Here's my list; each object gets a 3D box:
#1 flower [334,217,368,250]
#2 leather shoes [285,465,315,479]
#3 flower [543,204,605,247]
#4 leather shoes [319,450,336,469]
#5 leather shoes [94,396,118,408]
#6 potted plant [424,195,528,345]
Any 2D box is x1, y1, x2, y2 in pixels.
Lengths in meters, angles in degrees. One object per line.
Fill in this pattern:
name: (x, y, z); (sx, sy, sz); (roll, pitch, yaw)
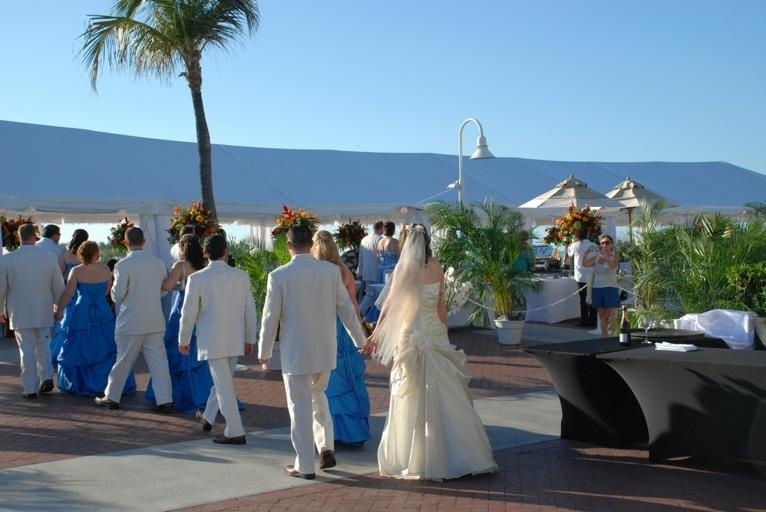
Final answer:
flower: (-0.679, -0.514, 16.430); (0.561, 0.611, 0.599); (4, 0, 7)
leather shoes: (-0.857, 2.209, 7.767); (0.291, 0.135, 0.120); (14, 10, 31)
flower: (3.963, -0.635, 15.343); (0.948, 0.745, 0.987); (-1, 0, -15)
leather shoes: (-0.579, 2.152, 8.004); (0.178, 0.200, 0.180); (-2, 9, -5)
leather shoes: (-3.691, 1.939, 9.991); (0.242, 0.121, 0.092); (19, 5, 13)
potted plant: (2.090, 0.290, 14.978); (2.539, 2.852, 2.188); (4, -9, -41)
